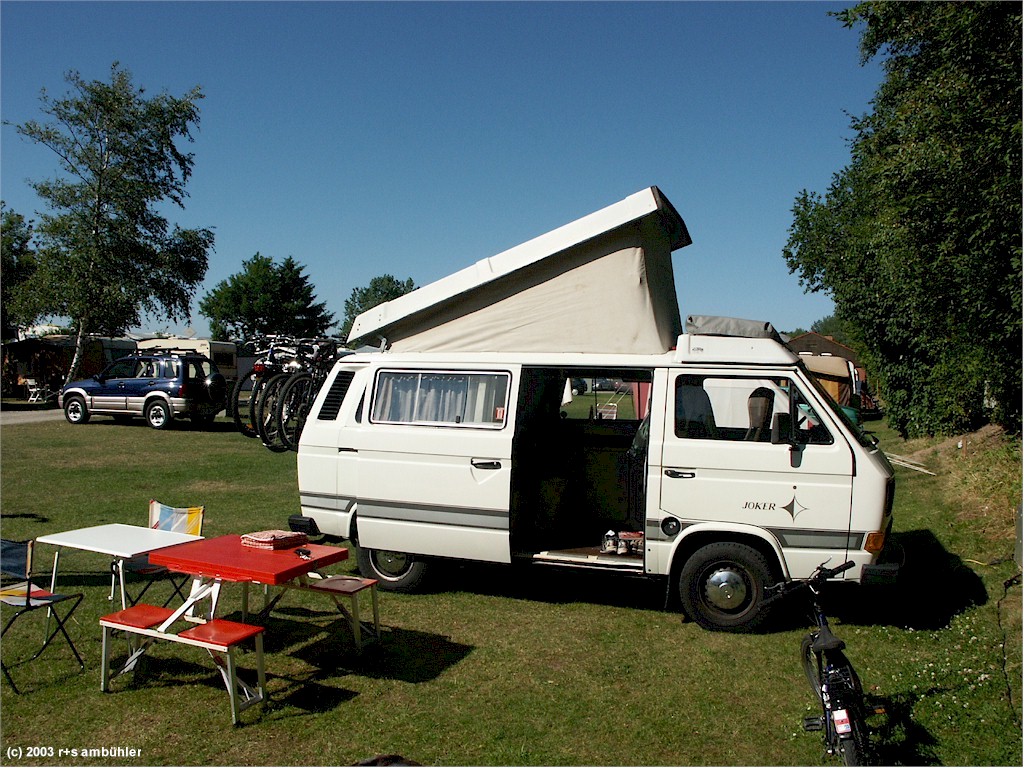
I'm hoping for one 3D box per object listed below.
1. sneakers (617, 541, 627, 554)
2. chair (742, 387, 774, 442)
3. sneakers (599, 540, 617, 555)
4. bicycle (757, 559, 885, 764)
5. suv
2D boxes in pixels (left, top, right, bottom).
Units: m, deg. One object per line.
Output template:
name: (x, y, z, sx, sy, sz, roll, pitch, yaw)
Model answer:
sneakers: (1.264, 1.859, 8.102, 0.115, 0.136, 0.103, 1, 8, 8)
chair: (2.601, 0.309, 7.457, 0.272, 0.533, 0.215, 2, 8, 12)
sneakers: (1.097, 1.866, 8.126, 0.158, 0.150, 0.131, 11, -10, -29)
bicycle: (2.420, 2.269, 5.833, 0.714, 1.071, 1.641, -20, -1, 11)
suv: (-12.298, 0.157, 23.834, 4.652, 2.270, 2.411, 3, 1, 12)
